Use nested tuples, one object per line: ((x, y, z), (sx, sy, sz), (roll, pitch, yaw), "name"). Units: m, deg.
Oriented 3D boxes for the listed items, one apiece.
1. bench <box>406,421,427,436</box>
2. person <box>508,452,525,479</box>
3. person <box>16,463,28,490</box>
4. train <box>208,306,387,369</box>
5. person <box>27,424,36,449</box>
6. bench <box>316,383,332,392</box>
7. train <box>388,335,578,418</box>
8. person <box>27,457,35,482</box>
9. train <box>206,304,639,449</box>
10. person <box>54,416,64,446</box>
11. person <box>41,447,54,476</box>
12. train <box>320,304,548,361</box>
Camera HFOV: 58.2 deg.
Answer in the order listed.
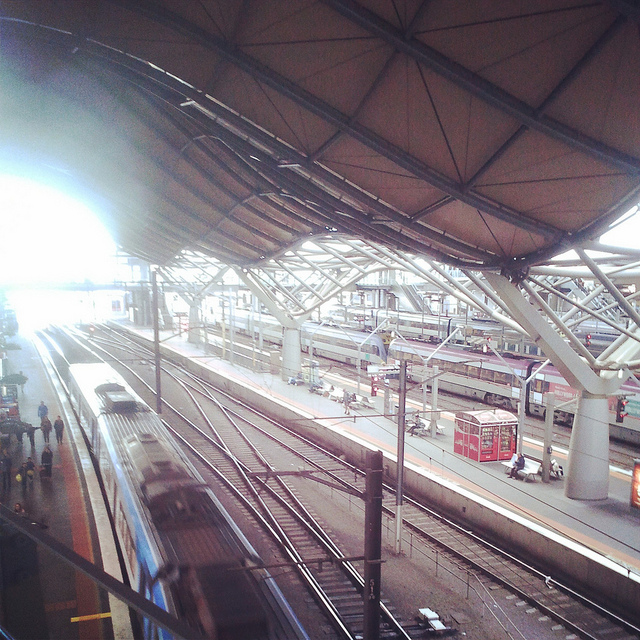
((4.488, 5.030, 26.921), (0.500, 0.522, 1.151), (0, 9, -27), "bench")
((7.415, 5.574, 21.712), (0.458, 0.843, 0.675), (10, 10, 38), "person")
((-10.305, 5.357, 19.976), (0.256, 0.868, 0.854), (-1, 9, -31), "person")
((-1.620, 1.579, 47.131), (2.071, 2.825, 21.479), (-9, 13, -38), "train")
((-12.393, 5.079, 24.718), (0.595, 0.841, 0.235), (-12, -18, 6), "person")
((0.312, 4.275, 35.419), (0.644, 0.418, 1.654), (4, 8, -9), "bench")
((8.717, 3.088, 34.908), (1.975, 3.270, 13.540), (-9, 9, -29), "train")
((-10.064, 5.301, 19.999), (0.152, 1.011, 0.661), (0, 9, -26), "person")
((4.737, 2.637, 40.204), (6.593, 5.650, 35.709), (0, 10, -31), "train")
((-11.212, 4.830, 24.741), (0.256, 1.122, 0.762), (1, 8, -22), "person")
((-9.779, 5.170, 20.608), (0.321, 1.041, 0.506), (-1, 9, -30), "person")
((6.871, 1.012, 37.148), (1.635, 2.674, 16.726), (-9, 15, -40), "train")
